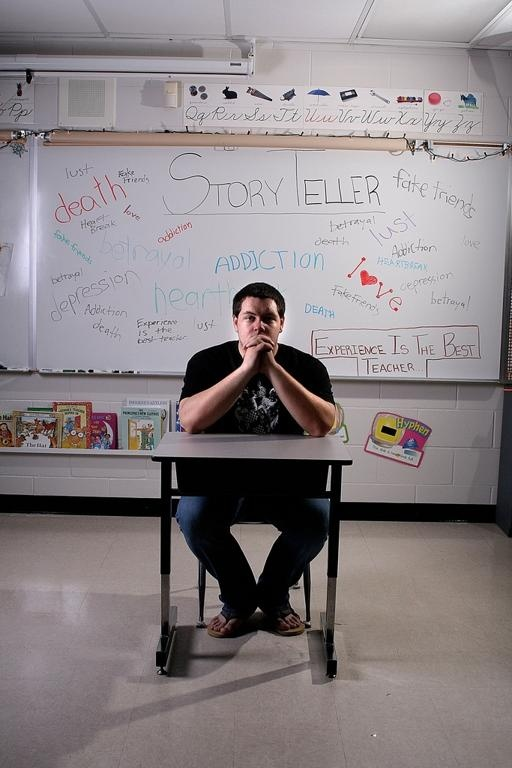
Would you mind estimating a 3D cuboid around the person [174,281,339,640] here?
[{"bbox_3d":[-0.002,0.214,1.815,0.507,1.095,0.555,-10,-17,35],"label":"person"}]

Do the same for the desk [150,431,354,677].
[{"bbox_3d":[-0.010,0.524,1.702,0.529,0.737,0.386,1,1,1],"label":"desk"}]

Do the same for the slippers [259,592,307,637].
[{"bbox_3d":[0.084,0.741,1.809,0.063,0.085,0.201,2,-14,-8],"label":"slippers"}]

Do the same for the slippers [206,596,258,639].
[{"bbox_3d":[-0.061,0.737,1.789,0.196,0.083,0.073,6,-7,-20],"label":"slippers"}]
